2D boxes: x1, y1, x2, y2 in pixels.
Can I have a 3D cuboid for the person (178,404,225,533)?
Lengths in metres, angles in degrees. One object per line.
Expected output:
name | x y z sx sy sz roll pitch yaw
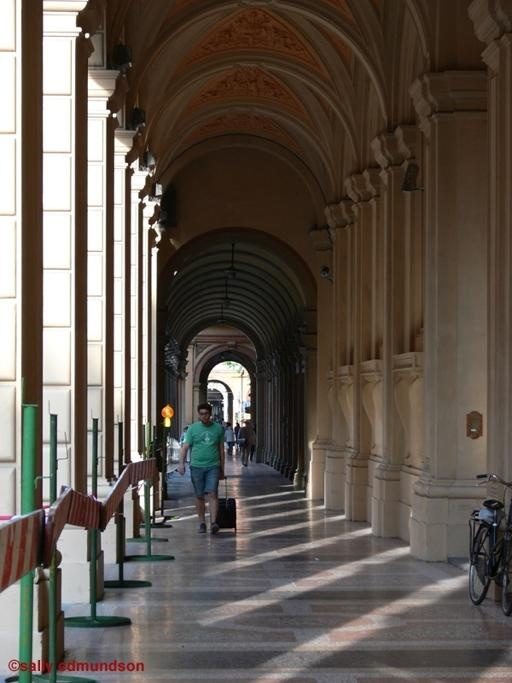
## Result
person | -0.685 1.627 11.477 0.546 1.632 1.398 0 -7 -4

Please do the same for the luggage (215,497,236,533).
luggage | -0.388 2.262 11.846 0.258 0.745 0.359 1 -2 -2
